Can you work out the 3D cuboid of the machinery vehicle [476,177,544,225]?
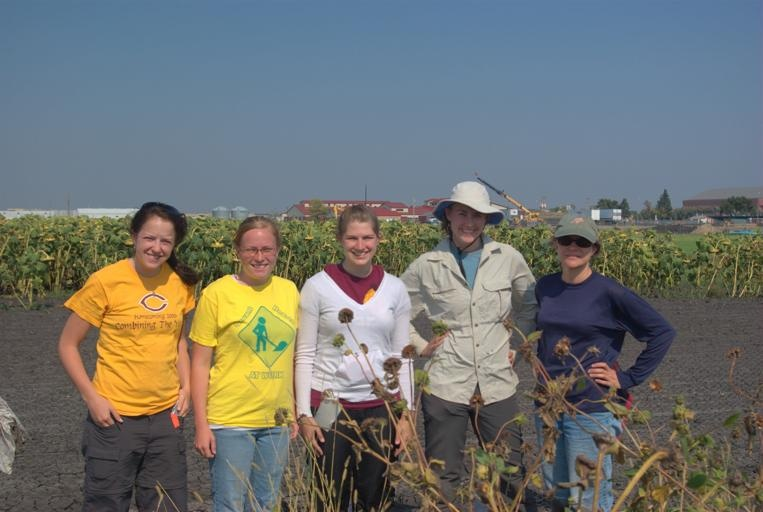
[{"bbox_3d":[2.314,-0.926,11.431,1.417,0.641,0.456,15,21,-4],"label":"machinery vehicle"}]
